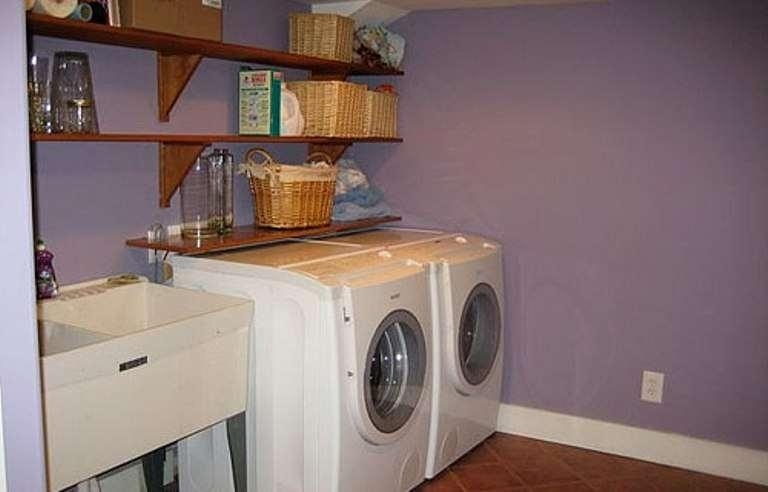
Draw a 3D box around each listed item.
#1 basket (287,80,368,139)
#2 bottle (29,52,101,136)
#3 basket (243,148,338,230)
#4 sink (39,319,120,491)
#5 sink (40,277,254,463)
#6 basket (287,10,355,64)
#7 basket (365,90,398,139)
[{"bbox_3d":[-0.326,-0.827,3.515,0.274,0.337,0.465,8,12,27],"label":"basket"},{"bbox_3d":[-1.367,-0.651,2.454,0.235,0.351,0.274,-1,10,-19],"label":"bottle"},{"bbox_3d":[-0.539,-0.336,3.320,0.392,0.424,0.554,5,9,33],"label":"basket"},{"bbox_3d":[-1.231,0.590,2.333,0.273,0.521,0.575,-4,11,-31],"label":"sink"},{"bbox_3d":[-1.110,0.526,2.379,0.709,0.456,0.711,11,13,33],"label":"sink"},{"bbox_3d":[-0.351,-1.278,3.504,0.442,0.255,0.445,22,31,31],"label":"basket"},{"bbox_3d":[-0.040,-0.832,3.677,0.111,0.276,0.286,10,14,38],"label":"basket"}]
